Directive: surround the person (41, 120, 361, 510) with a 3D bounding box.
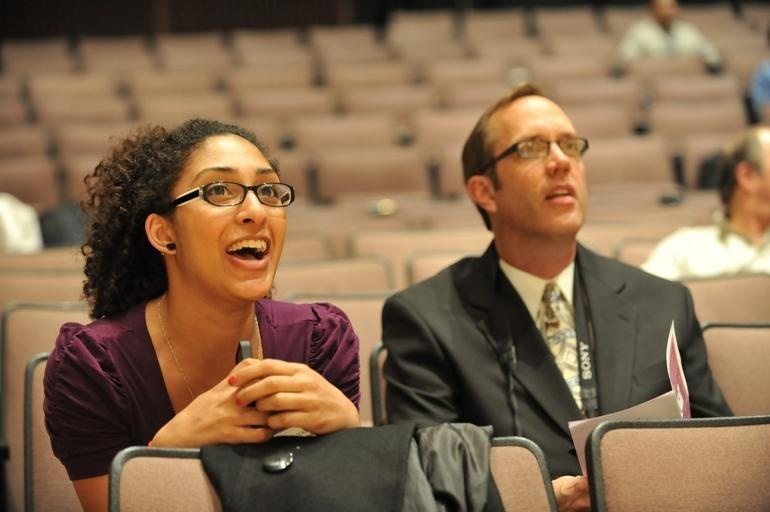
[{"bbox_3d":[-0.540,0.141,3.061,0.896,1.089,0.461,-6,1,-2],"label":"person"}]

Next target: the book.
[{"bbox_3d":[0.713,0.407,3.012,0.445,0.346,0.303,-6,1,-15],"label":"book"}]

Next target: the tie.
[{"bbox_3d":[0.535,0.276,3.198,0.103,0.348,0.043,-6,-25,-1],"label":"tie"}]
